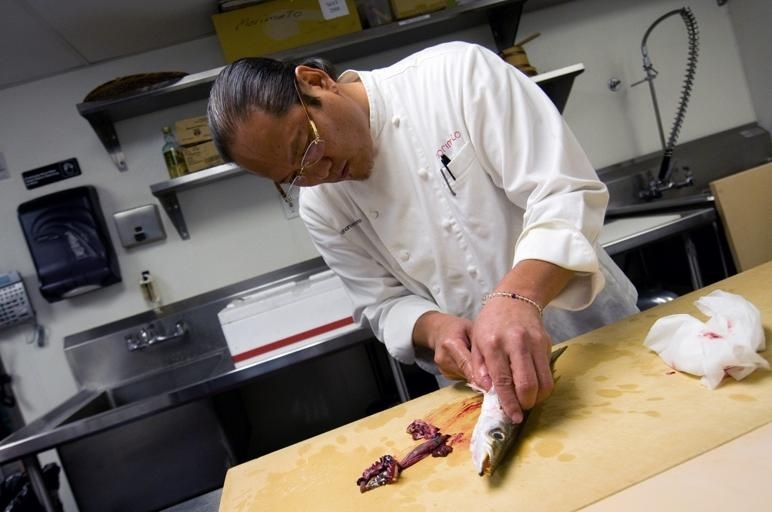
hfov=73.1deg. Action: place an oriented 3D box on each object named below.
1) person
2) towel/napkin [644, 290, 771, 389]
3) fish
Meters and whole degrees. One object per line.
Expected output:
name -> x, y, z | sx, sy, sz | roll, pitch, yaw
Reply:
person -> 0.153, -0.160, 1.817 | 1.139, 1.333, 0.563 | -12, 8, 23
towel/napkin -> 1.045, 0.274, 1.675 | 0.317, 0.213, 0.227 | -18, 8, -10
fish -> 0.392, 0.506, 1.641 | 0.116, 0.098, 0.331 | -25, 28, 50
